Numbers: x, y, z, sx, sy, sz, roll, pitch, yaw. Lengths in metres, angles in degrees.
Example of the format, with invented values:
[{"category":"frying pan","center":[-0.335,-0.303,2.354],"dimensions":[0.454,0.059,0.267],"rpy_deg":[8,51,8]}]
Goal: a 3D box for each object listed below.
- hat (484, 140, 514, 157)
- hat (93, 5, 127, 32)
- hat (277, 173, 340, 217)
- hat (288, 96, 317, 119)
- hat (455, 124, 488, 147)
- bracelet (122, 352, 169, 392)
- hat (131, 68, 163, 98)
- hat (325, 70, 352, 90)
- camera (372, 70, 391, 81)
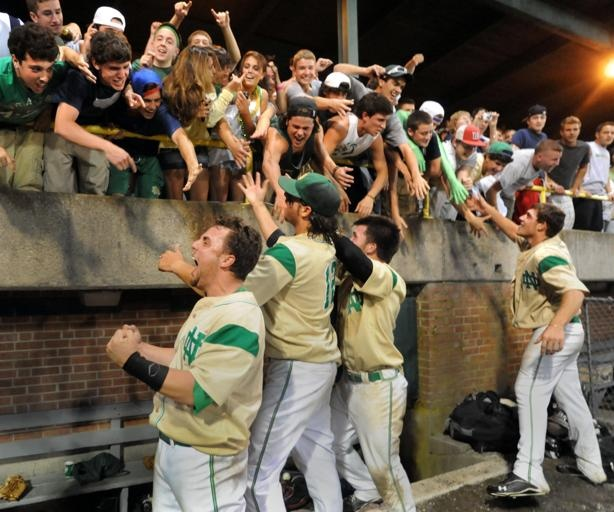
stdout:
[{"category":"hat","center":[2.564,-1.496,10.974],"dimensions":[0.204,0.184,0.321],"rpy_deg":[0,46,-8]},{"category":"hat","center":[-2.249,-2.768,9.291],"dimensions":[0.328,0.288,0.660],"rpy_deg":[4,11,-16]},{"category":"hat","center":[0.033,-0.655,7.837],"dimensions":[0.548,0.299,0.372],"rpy_deg":[27,34,-2]},{"category":"hat","center":[-0.045,-1.628,8.731],"dimensions":[0.322,0.238,0.209],"rpy_deg":[5,10,-9]},{"category":"hat","center":[2.116,-1.609,10.728],"dimensions":[0.254,0.151,0.375],"rpy_deg":[-17,43,-24]},{"category":"bracelet","center":[-1.322,0.955,6.782],"dimensions":[0.356,0.254,0.149],"rpy_deg":[31,-16,15]},{"category":"hat","center":[-1.655,-1.870,8.385],"dimensions":[0.224,0.261,0.335],"rpy_deg":[-3,43,-15]},{"category":"hat","center":[0.373,-2.145,9.700],"dimensions":[0.330,0.202,0.394],"rpy_deg":[12,12,24]},{"category":"camera","center":[0.933,-2.289,10.111],"dimensions":[0.138,0.156,0.110],"rpy_deg":[11,14,18]}]
